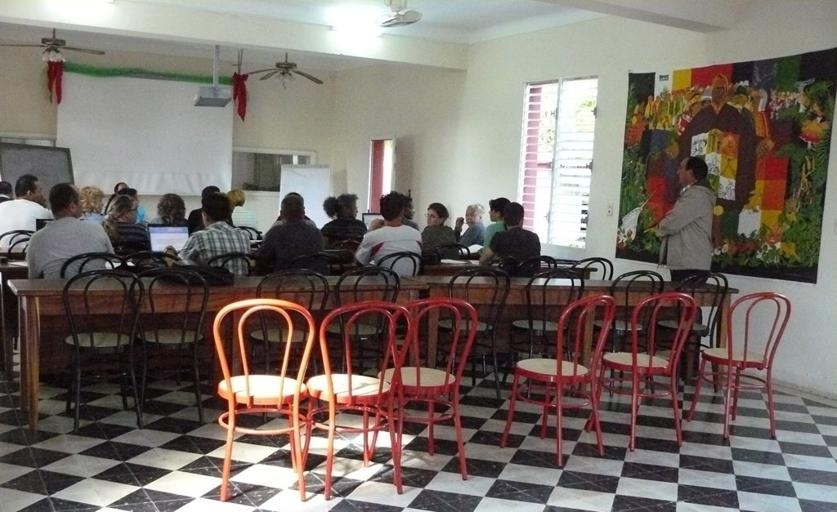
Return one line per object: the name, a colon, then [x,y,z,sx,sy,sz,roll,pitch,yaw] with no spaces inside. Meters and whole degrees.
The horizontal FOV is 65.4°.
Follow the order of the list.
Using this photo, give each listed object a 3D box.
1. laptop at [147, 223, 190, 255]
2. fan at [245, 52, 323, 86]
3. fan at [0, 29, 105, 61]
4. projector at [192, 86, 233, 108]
laptop: [-2.757,-0.201,7.212,0.556,0.319,0.411,1,1,-33]
fan: [-2.429,-3.315,11.540,1.237,0.403,1.163,2,6,-1]
fan: [-5.782,-3.292,10.183,0.927,0.335,0.931,6,8,39]
projector: [-3.182,-2.480,10.243,0.509,0.282,0.488,-1,1,-32]
